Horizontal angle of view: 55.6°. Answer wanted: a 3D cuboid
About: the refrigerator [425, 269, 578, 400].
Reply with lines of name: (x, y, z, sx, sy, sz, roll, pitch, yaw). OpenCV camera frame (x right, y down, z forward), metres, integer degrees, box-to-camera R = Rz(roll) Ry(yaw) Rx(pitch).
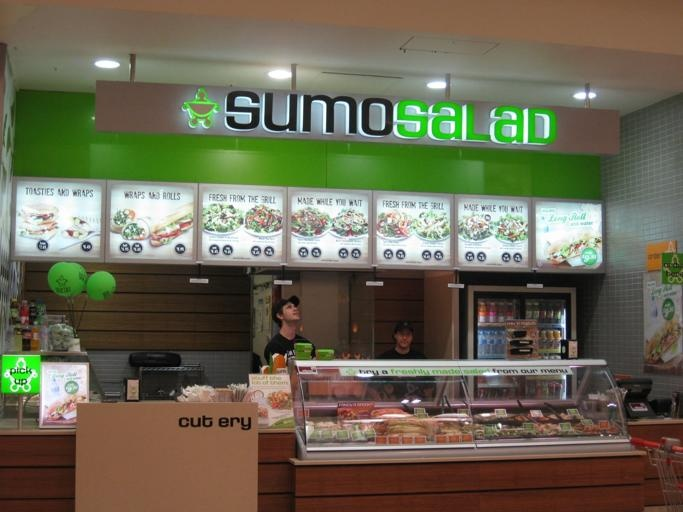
refrigerator: (2.065, 1.012, 7.822, 1.435, 1.300, 0.461, 3, -8, -18)

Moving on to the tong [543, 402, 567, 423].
tong: (1.703, 1.226, 5.146, 0.204, 0.116, 0.138, 2, 1, -5)

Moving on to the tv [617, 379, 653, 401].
tv: (2.711, 1.211, 5.950, 0.263, 0.150, 0.251, 4, -15, -8)

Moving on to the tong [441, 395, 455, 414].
tong: (0.817, 1.136, 4.974, 0.093, 0.127, 0.014, 1, -3, -19)

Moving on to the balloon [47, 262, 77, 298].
balloon: (-2.673, 0.232, 6.184, 0.325, 0.301, 0.296, -2, 1, -37)

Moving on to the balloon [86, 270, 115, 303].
balloon: (-2.450, 0.298, 6.542, 0.259, 0.271, 0.243, 1, -3, -21)
